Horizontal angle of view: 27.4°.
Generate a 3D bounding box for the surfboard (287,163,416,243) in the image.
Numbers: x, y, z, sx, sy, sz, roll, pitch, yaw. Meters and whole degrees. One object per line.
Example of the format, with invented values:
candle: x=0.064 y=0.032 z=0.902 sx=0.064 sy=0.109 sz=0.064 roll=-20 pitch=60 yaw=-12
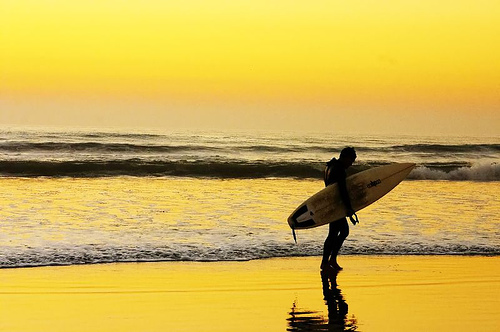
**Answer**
surfboard: x=2.540 y=0.857 z=26.034 sx=3.027 sy=1.766 sz=1.007 roll=-1 pitch=7 yaw=-26
